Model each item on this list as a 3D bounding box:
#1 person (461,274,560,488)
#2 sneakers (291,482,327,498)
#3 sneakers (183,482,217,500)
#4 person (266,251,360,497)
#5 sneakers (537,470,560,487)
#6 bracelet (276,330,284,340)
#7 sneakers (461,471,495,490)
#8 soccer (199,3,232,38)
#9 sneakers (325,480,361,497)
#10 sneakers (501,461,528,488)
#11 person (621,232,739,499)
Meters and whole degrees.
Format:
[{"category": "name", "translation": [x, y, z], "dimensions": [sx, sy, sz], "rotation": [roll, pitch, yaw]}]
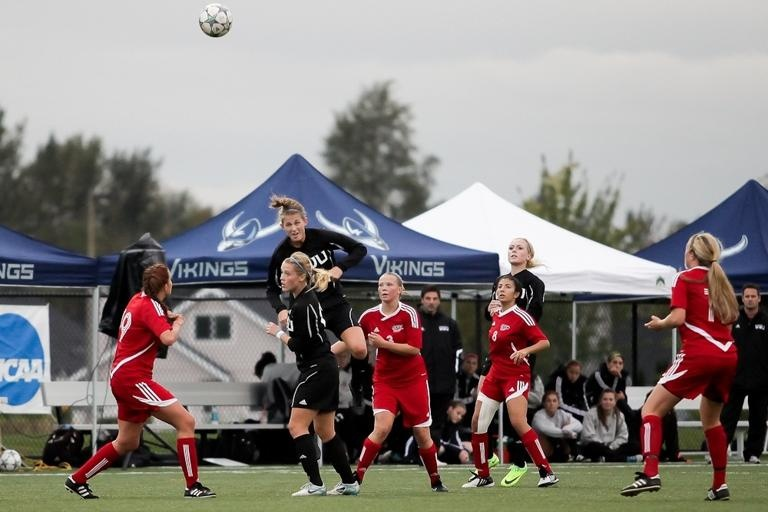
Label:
[{"category": "person", "translation": [1.847, 1.801, 21.815], "dimensions": [1.212, 3.093, 0.676], "rotation": [-2, -11, 14]}, {"category": "sneakers", "translation": [-1.043, 3.287, 21.067], "dimensions": [0.532, 0.216, 0.198], "rotation": [1, -4, 5]}, {"category": "sneakers", "translation": [-2.641, 3.293, 20.939], "dimensions": [0.538, 0.237, 0.185], "rotation": [-2, -4, 15]}, {"category": "person", "translation": [-1.014, 1.667, 20.951], "dimensions": [0.731, 3.294, 1.165], "rotation": [-7, -12, 34]}, {"category": "sneakers", "translation": [2.427, 3.242, 21.694], "dimensions": [0.386, 0.198, 0.151], "rotation": [0, -7, -43]}, {"category": "bracelet", "translation": [-1.441, 1.113, 20.932], "dimensions": [0.083, 0.132, 0.121], "rotation": [3, -27, 30]}, {"category": "sneakers", "translation": [1.388, 3.318, 21.947], "dimensions": [0.562, 0.245, 0.191], "rotation": [1, -3, 0]}, {"category": "soccer", "translation": [-2.934, -4.047, 25.923], "dimensions": [0.559, 0.617, 0.461], "rotation": [2, -11, -7]}, {"category": "sneakers", "translation": [-0.584, 3.265, 21.059], "dimensions": [0.488, 0.195, 0.177], "rotation": [0, -3, -4]}, {"category": "sneakers", "translation": [1.962, 3.261, 22.270], "dimensions": [0.207, 0.202, 0.544], "rotation": [-1, 20, 34]}, {"category": "person", "translation": [4.252, 1.497, 20.524], "dimensions": [1.218, 3.640, 0.697], "rotation": [0, -10, 3]}]
